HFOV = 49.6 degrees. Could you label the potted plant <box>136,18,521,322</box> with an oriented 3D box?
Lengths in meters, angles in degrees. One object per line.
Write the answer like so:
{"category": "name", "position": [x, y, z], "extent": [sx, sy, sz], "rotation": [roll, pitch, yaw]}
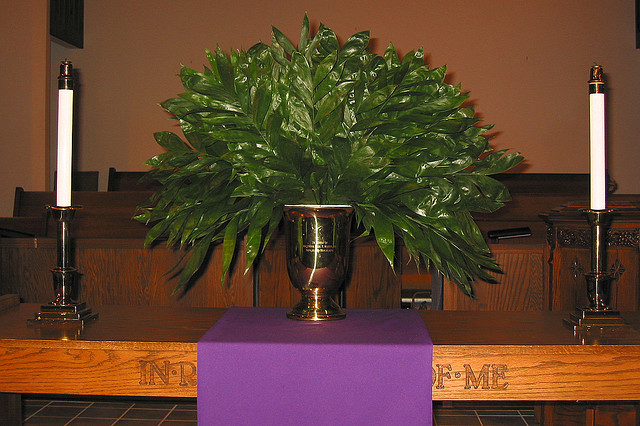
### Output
{"category": "potted plant", "position": [0.016, -0.058, 2.959], "extent": [1.439, 0.927, 0.888], "rotation": [0, -5, 7]}

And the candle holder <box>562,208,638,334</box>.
{"category": "candle holder", "position": [1.147, 0.232, 2.885], "extent": [0.279, 0.507, 0.197], "rotation": [-1, -2, 9]}

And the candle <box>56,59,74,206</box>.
{"category": "candle", "position": [-1.096, -0.352, 2.967], "extent": [0.066, 0.643, 0.160], "rotation": [0, -2, -20]}
